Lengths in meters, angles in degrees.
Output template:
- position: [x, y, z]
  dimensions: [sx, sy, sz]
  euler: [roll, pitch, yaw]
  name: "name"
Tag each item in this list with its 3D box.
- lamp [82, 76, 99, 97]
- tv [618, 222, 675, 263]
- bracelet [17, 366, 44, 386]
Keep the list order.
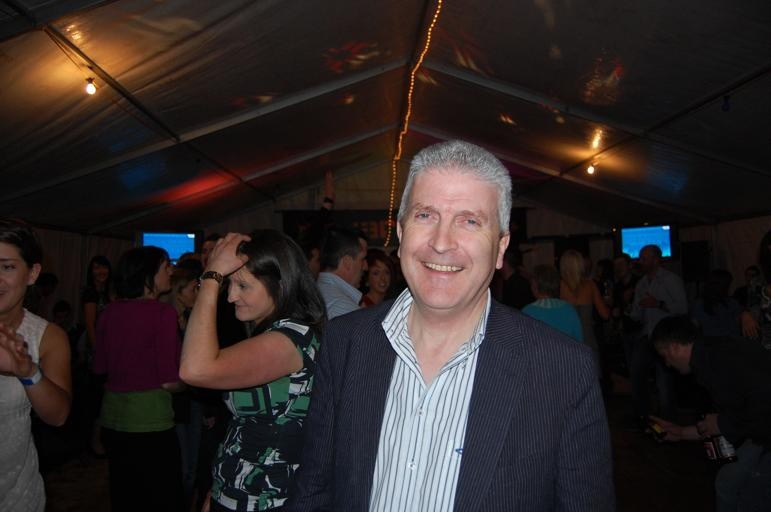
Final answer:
- position: [-2.961, -1.729, 5.724]
  dimensions: [0.125, 0.260, 0.124]
  euler: [1, 14, -3]
  name: "lamp"
- position: [4.193, -0.205, 9.169]
  dimensions: [0.867, 0.607, 0.094]
  euler: [-4, -1, 0]
  name: "tv"
- position: [-2.201, 0.764, 3.546]
  dimensions: [0.116, 0.076, 0.116]
  euler: [-43, 22, -26]
  name: "bracelet"
